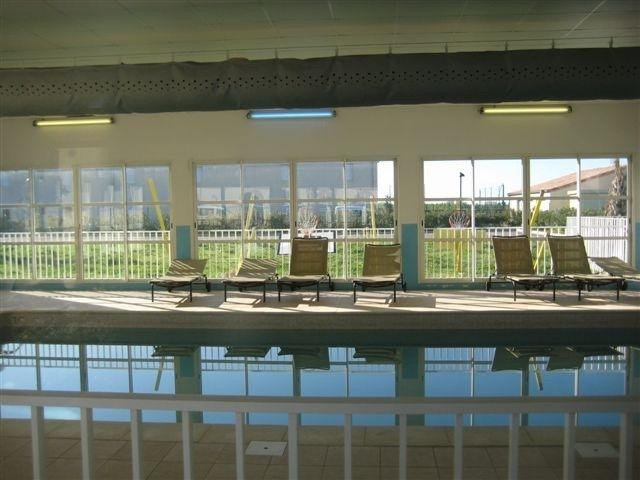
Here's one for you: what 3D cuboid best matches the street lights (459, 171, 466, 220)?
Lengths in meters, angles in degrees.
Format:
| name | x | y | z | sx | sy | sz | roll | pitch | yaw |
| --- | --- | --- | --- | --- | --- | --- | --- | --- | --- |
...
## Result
| name | x | y | z | sx | sy | sz | roll | pitch | yaw |
| --- | --- | --- | --- | --- | --- | --- | --- | --- | --- |
| street lights | 2.739 | -0.834 | 14.143 | 0.110 | 0.912 | 0.084 | 0 | 12 | 8 |

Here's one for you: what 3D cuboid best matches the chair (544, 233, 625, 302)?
| name | x | y | z | sx | sy | sz | roll | pitch | yaw |
| --- | --- | --- | --- | --- | --- | --- | --- | --- | --- |
| chair | 4.500 | 0.406 | 12.887 | 0.763 | 1.023 | 1.593 | -2 | -1 | -4 |

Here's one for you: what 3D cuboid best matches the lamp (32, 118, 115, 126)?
| name | x | y | z | sx | sy | sz | roll | pitch | yaw |
| --- | --- | --- | --- | --- | --- | --- | --- | --- | --- |
| lamp | -4.862 | -2.299 | 14.381 | 1.594 | 0.175 | 0.310 | 2 | 13 | 12 |

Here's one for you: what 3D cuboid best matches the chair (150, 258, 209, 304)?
| name | x | y | z | sx | sy | sz | roll | pitch | yaw |
| --- | --- | --- | --- | --- | --- | --- | --- | --- | --- |
| chair | -2.445 | 0.692 | 13.110 | 0.597 | 0.486 | 1.068 | -1 | -1 | 4 |
